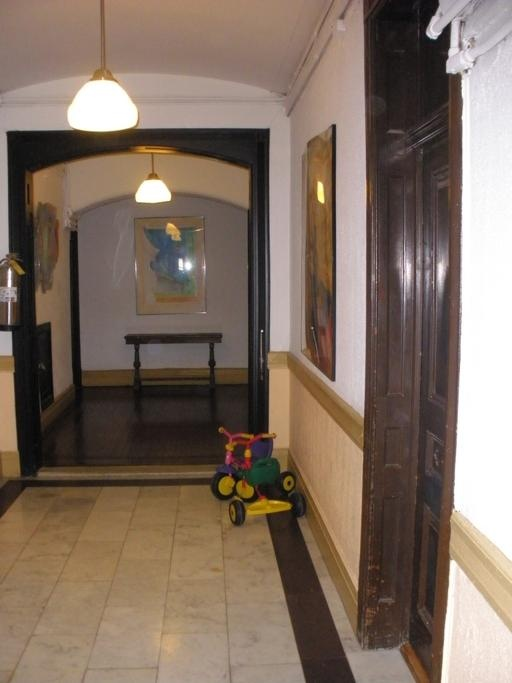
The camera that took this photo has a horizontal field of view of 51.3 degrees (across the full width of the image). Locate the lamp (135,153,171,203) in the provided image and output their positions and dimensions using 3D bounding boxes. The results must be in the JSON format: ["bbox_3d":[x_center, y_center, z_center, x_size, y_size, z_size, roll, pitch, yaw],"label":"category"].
[{"bbox_3d":[-1.087,-1.746,5.636,0.314,0.627,0.876,-1,6,-10],"label":"lamp"}]

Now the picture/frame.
[{"bbox_3d":[-1.225,-1.132,7.696,1.019,0.026,1.912,1,54,-14],"label":"picture/frame"}]

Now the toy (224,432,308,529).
[{"bbox_3d":[0.001,0.950,3.748,0.343,0.630,0.636,-1,9,-11],"label":"toy"}]

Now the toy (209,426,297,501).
[{"bbox_3d":[-0.035,0.908,3.931,0.540,0.823,0.432,4,-3,-26],"label":"toy"}]
